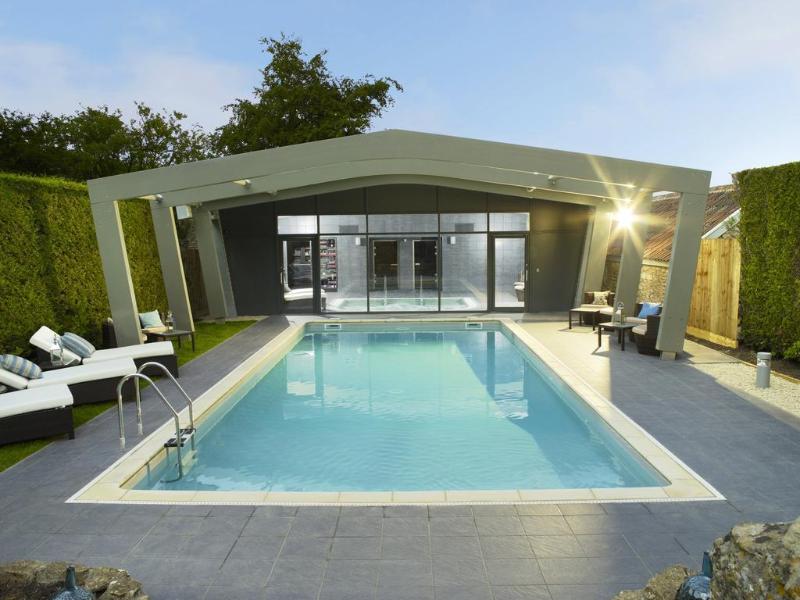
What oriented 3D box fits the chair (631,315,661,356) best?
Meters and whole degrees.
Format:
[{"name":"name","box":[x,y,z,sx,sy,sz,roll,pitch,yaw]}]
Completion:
[{"name":"chair","box":[5.623,0.820,10.914,0.865,0.670,0.707,1,-3,9]}]

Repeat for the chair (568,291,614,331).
[{"name":"chair","box":[6.074,0.322,15.097,1.558,1.065,0.944,-11,13,-39]}]

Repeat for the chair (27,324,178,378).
[{"name":"chair","box":[-5.666,0.981,9.149,2.561,0.983,1.243,-1,4,-17]}]

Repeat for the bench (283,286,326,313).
[{"name":"bench","box":[-3.782,0.026,18.239,1.551,0.658,0.970,0,0,-4]}]
